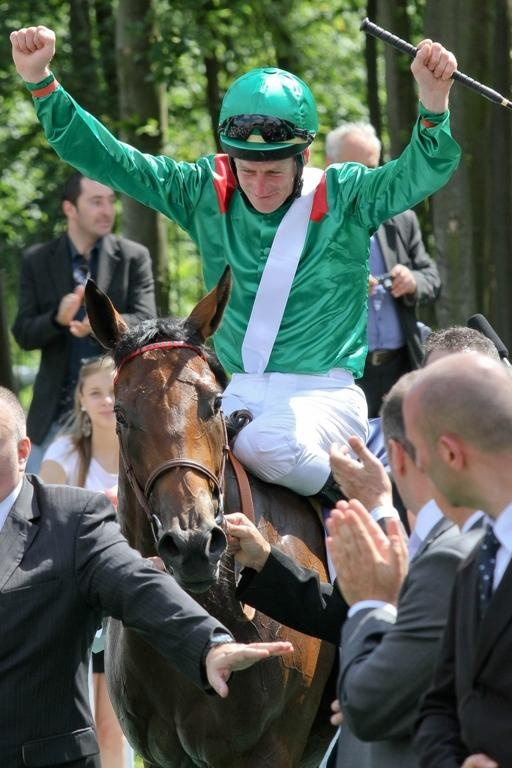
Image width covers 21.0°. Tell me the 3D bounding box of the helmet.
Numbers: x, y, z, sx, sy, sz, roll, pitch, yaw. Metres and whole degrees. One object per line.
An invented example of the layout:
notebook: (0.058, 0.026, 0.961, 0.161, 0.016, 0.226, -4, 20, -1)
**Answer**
helmet: (0.045, -0.985, 4.846, 0.367, 0.245, 0.440, 8, 28, 17)

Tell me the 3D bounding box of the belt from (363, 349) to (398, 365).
belt: (0.628, -0.137, 6.925, 0.129, 0.039, 0.092, -1, -4, -30)
